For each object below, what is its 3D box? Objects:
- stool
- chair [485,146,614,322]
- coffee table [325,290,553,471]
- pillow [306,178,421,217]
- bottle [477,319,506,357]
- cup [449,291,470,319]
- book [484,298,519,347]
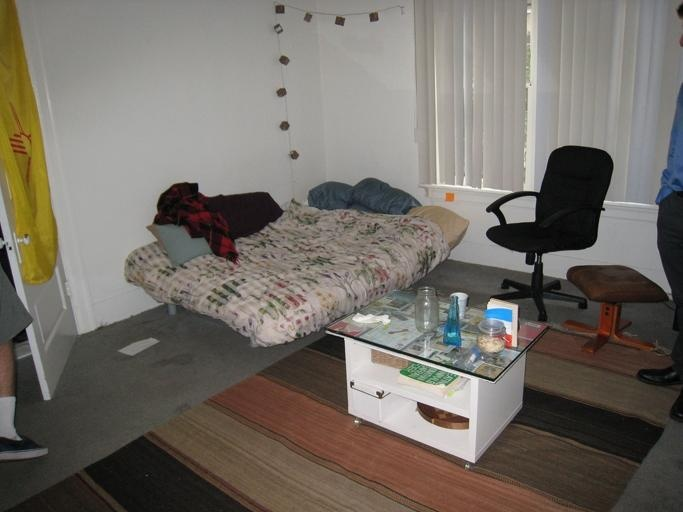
[{"bbox_3d":[1.823,0.339,3.221,0.691,0.398,0.668,15,18,40],"label":"stool"},{"bbox_3d":[1.543,-0.190,3.633,0.806,1.203,0.795,-14,20,-28],"label":"chair"},{"bbox_3d":[0.526,0.636,2.627,0.957,0.555,0.749,9,19,42],"label":"coffee table"},{"bbox_3d":[0.206,-0.708,4.826,0.814,0.270,0.532,12,14,21],"label":"pillow"},{"bbox_3d":[0.722,0.387,2.347,0.157,0.154,0.159,0,12,12],"label":"bottle"},{"bbox_3d":[0.646,0.260,2.580,0.131,0.104,0.137,-2,4,0],"label":"cup"},{"bbox_3d":[0.798,0.339,2.374,0.037,0.217,0.189,-18,23,-37],"label":"book"}]
